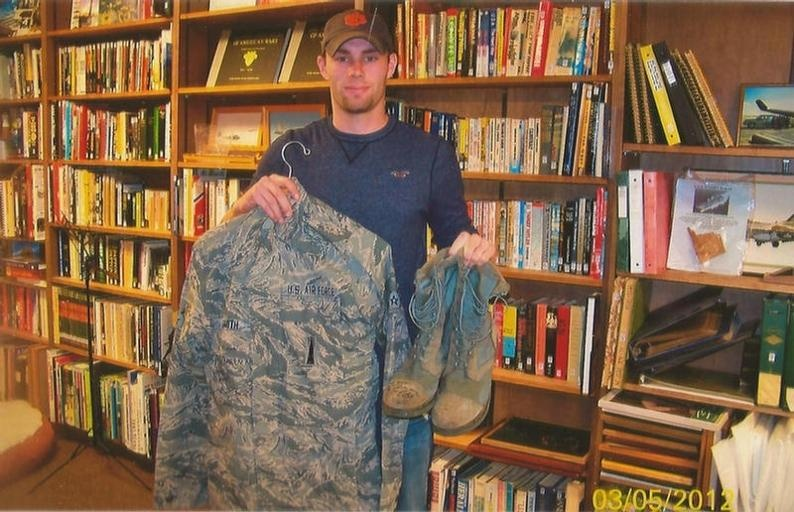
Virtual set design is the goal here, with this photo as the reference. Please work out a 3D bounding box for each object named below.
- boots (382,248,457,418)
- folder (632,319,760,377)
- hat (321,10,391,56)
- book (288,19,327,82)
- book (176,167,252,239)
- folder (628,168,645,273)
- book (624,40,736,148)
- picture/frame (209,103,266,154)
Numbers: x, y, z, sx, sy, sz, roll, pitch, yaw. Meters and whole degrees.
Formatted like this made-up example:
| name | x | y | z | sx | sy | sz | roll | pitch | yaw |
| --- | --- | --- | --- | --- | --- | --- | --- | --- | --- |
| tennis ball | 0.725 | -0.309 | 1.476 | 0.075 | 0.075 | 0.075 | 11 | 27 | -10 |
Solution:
| name | x | y | z | sx | sy | sz | roll | pitch | yaw |
| --- | --- | --- | --- | --- | --- | --- | --- | --- | --- |
| boots | 0.093 | 0.330 | 2.852 | 0.207 | 0.629 | 0.396 | 9 | -32 | 10 |
| folder | 1.444 | 0.434 | 3.483 | 0.650 | 0.111 | 0.509 | -19 | -4 | 5 |
| hat | -0.181 | -1.022 | 3.289 | 0.305 | 0.210 | 0.413 | -4 | 5 | 2 |
| book | -0.511 | -1.165 | 4.098 | 0.070 | 0.298 | 0.301 | 8 | 32 | -17 |
| book | -0.993 | -0.278 | 3.818 | 0.353 | 0.332 | 0.138 | 11 | 8 | 7 |
| folder | 1.168 | -0.185 | 3.478 | 0.088 | 0.615 | 0.471 | 0 | 3 | 17 |
| book | 1.338 | -0.742 | 3.513 | 0.427 | 0.581 | 0.180 | -7 | 11 | 21 |
| picture/frame | -0.946 | -0.755 | 4.288 | 0.392 | 0.340 | 0.032 | 5 | -5 | 20 |
